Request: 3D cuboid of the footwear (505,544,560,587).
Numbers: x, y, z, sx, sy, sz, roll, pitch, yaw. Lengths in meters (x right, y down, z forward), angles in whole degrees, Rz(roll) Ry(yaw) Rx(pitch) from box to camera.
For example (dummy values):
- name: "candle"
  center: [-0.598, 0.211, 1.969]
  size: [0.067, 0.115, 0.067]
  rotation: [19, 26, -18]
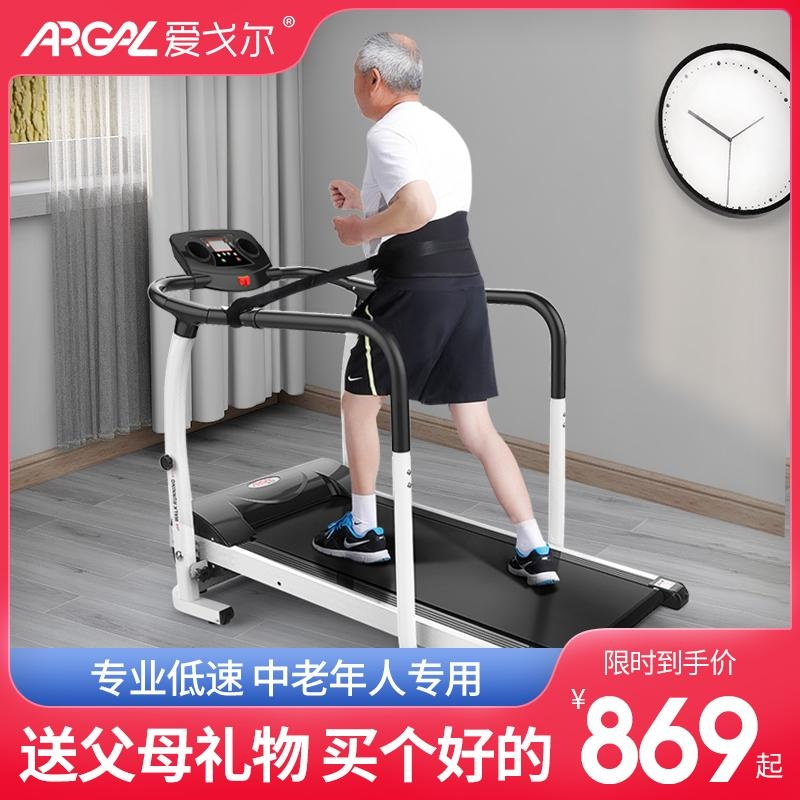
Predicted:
- name: "footwear"
  center: [0.355, 0.444, 2.185]
  size: [0.072, 0.075, 0.168]
  rotation: [-6, 12, -27]

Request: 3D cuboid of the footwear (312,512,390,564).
- name: "footwear"
  center: [-0.154, 0.393, 2.340]
  size: [0.108, 0.129, 0.299]
  rotation: [-9, 9, -43]

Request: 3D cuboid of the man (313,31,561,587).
- name: "man"
  center: [0.100, -0.196, 2.060]
  size: [0.696, 1.401, 0.437]
  rotation: [5, 11, 7]

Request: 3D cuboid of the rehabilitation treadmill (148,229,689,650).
- name: "rehabilitation treadmill"
  center: [-0.104, 0.030, 2.564]
  size: [1.779, 1.138, 1.030]
  rotation: [13, 21, 41]

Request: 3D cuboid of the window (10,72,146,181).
- name: "window"
  center: [-1.262, -1.047, 3.135]
  size: [0.521, 0.460, 0.316]
  rotation: [1, 11, -15]

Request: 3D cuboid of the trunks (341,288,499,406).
- name: "trunks"
  center: [0.055, -0.176, 2.101]
  size: [0.442, 0.364, 0.250]
  rotation: [-1, 4, -39]
